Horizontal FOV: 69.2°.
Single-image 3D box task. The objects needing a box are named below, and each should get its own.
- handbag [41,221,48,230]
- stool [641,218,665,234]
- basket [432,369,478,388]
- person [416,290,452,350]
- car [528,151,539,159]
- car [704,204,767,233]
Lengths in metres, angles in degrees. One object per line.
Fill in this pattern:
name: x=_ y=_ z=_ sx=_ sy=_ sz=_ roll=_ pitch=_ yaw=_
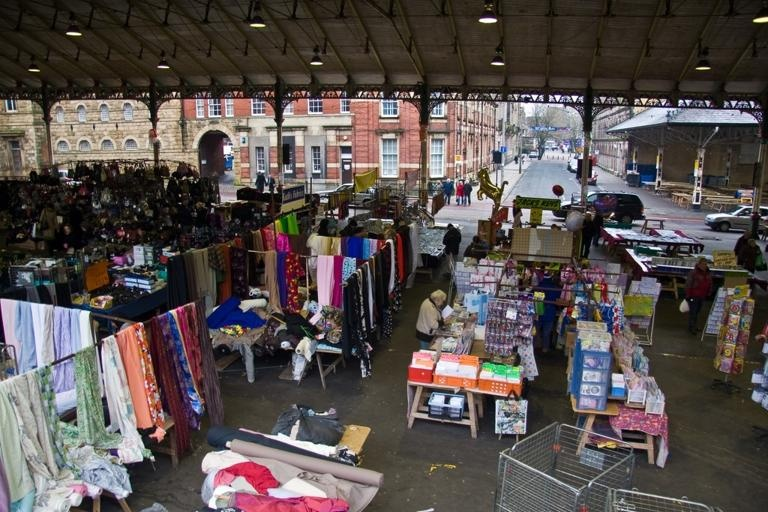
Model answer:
handbag: x=-10.991 y=-1.004 z=17.961 sx=0.207 sy=0.203 sz=0.053 roll=3 pitch=2 yaw=6
stool: x=11.531 y=-1.271 z=23.881 sx=0.981 sy=0.964 sz=0.796 roll=3 pitch=5 yaw=34
basket: x=1.400 y=2.325 z=10.914 sx=0.855 sy=0.372 sz=0.288 roll=1 pitch=9 yaw=9
person: x=1.058 y=1.461 z=12.306 sx=0.662 sy=1.338 sz=1.028 roll=0 pitch=9 yaw=1
car: x=24.506 y=-16.599 z=91.611 sx=1.431 sy=1.149 sz=3.297 roll=2 pitch=7 yaw=18
car: x=16.823 y=-1.778 z=26.643 sx=1.655 sy=1.211 sz=2.973 roll=-6 pitch=10 yaw=-30
